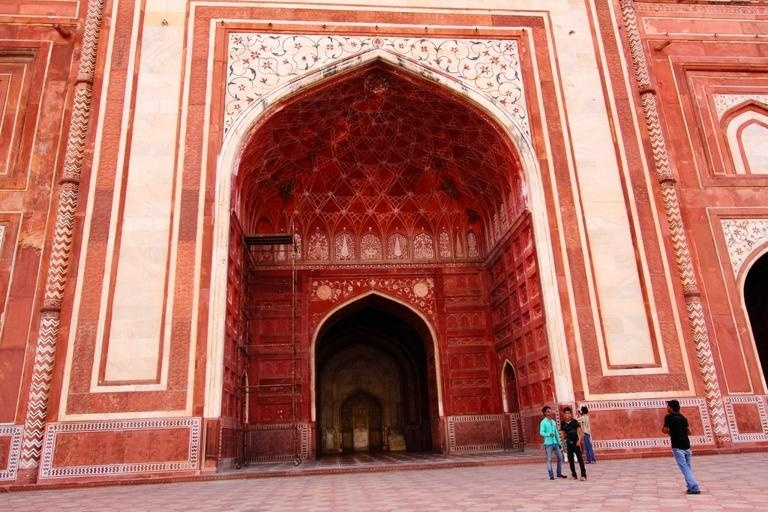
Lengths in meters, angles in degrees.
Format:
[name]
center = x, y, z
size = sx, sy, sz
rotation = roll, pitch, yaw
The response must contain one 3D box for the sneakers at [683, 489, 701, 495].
[sneakers]
center = 2.978, 2.267, 5.292
size = 0.150, 0.059, 0.052
rotation = -2, -5, -2
